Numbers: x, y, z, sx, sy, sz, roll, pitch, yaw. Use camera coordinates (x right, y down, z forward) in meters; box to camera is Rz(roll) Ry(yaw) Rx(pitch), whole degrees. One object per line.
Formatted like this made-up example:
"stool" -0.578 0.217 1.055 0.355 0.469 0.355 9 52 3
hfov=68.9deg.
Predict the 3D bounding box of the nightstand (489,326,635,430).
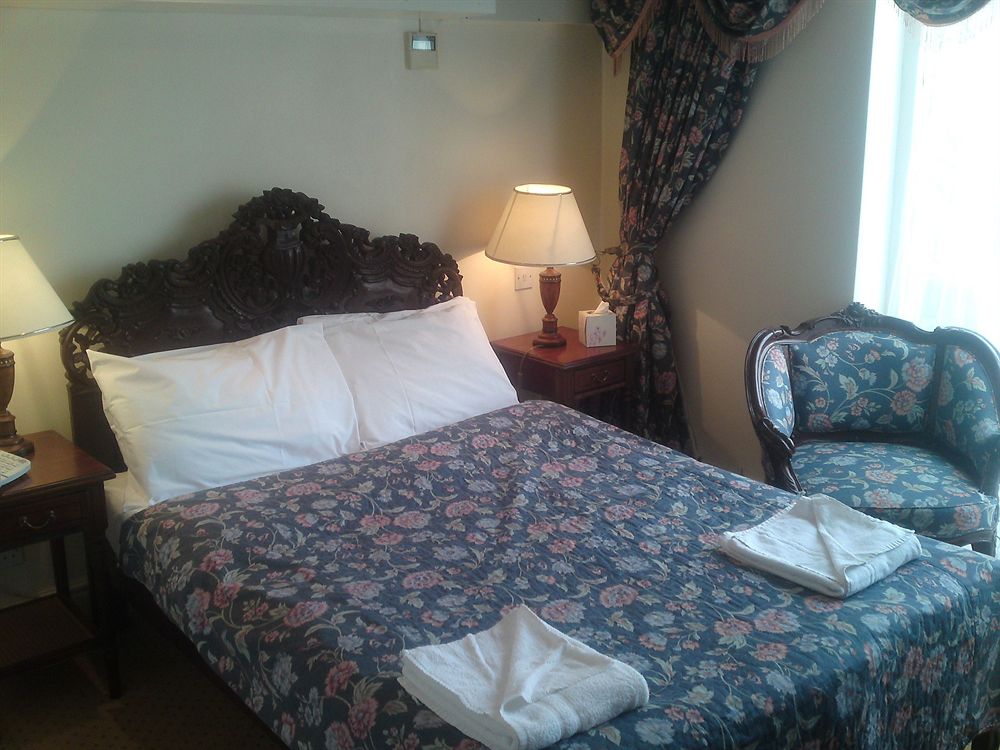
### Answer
"nightstand" 0.385 0.184 3.899 0.500 0.713 0.561 -13 19 -25

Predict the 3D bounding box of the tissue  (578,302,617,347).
"tissue " 0.495 -0.265 3.734 0.192 0.290 0.199 -1 11 -7

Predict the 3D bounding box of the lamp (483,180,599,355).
"lamp" 0.249 -0.538 3.718 0.545 0.786 0.578 5 21 20

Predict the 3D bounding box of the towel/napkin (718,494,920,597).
"towel/napkin" 0.970 0.516 2.208 0.401 0.125 0.408 -15 13 -29
